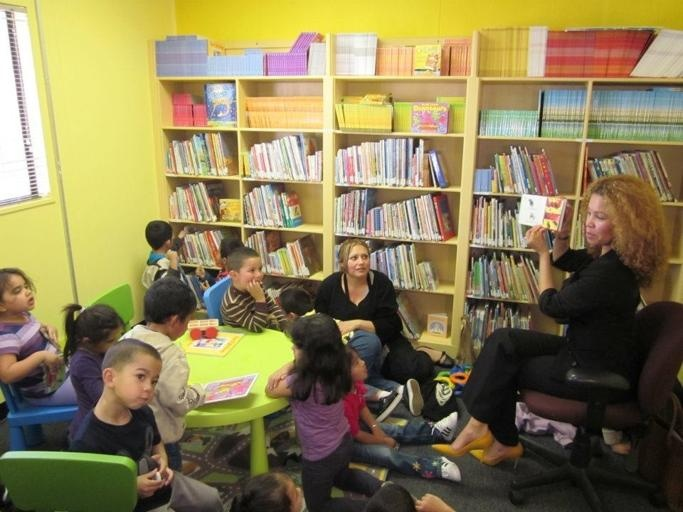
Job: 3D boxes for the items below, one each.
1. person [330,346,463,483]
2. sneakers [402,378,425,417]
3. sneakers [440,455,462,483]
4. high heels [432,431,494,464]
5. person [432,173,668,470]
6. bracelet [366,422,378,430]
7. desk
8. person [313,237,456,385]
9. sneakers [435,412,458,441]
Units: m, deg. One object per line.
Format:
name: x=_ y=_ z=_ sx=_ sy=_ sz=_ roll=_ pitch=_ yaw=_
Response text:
person: x=0.300 y=0.947 z=3.068 sx=0.923 sy=0.649 sz=0.433 roll=5 pitch=6 yaw=18
sneakers: x=0.478 y=0.925 z=3.397 sx=0.133 sy=0.241 sz=0.109 roll=-11 pitch=3 yaw=-34
sneakers: x=0.623 y=1.229 z=2.935 sx=0.179 sy=0.064 sz=0.076 roll=10 pitch=4 yaw=16
high heels: x=0.701 y=1.068 z=2.866 sx=0.377 sy=0.153 sz=0.127 roll=-7 pitch=5 yaw=19
person: x=1.175 y=0.441 z=2.735 sx=0.903 sy=1.704 sz=0.597 roll=4 pitch=12 yaw=32
bracelet: x=0.185 y=1.040 z=3.121 sx=0.052 sy=0.022 sz=0.068 roll=2 pitch=6 yaw=4
desk: x=-0.530 y=0.671 z=2.789 sx=0.711 sy=0.421 sz=0.708 roll=0 pitch=12 yaw=8
person: x=0.246 y=0.423 z=3.637 sx=0.925 sy=1.005 sz=1.021 roll=-14 pitch=14 yaw=-34
sneakers: x=0.656 y=1.065 z=3.205 sx=0.113 sy=0.240 sz=0.084 roll=26 pitch=44 yaw=-10
